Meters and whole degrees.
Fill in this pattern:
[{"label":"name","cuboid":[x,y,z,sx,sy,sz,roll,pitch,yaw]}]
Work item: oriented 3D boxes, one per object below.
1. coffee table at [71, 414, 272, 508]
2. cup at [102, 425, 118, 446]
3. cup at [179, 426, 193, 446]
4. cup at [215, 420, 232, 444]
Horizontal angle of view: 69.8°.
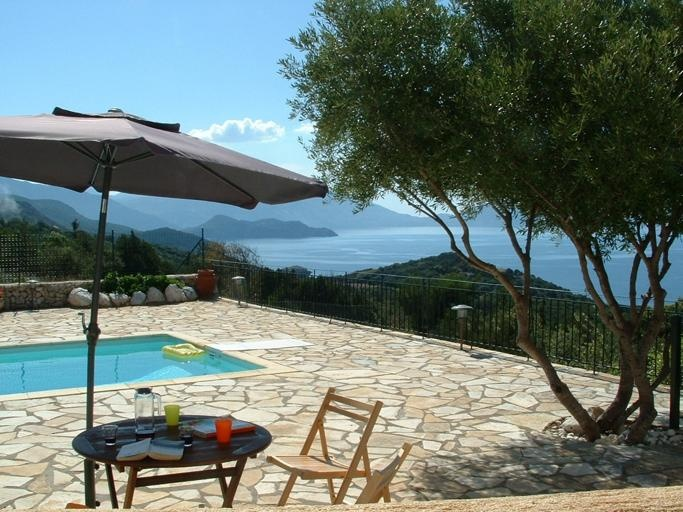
[{"label":"coffee table","cuboid":[-1.203,1.533,3.545,1.362,0.680,0.930,1,-3,-2]},{"label":"cup","cuboid":[-1.578,1.236,3.377,0.105,0.111,0.107,0,-7,0]},{"label":"cup","cuboid":[-1.074,1.250,3.395,0.104,0.117,0.107,1,-1,0]},{"label":"cup","cuboid":[-0.824,1.235,3.436,0.136,0.149,0.138,-1,-7,0]}]
